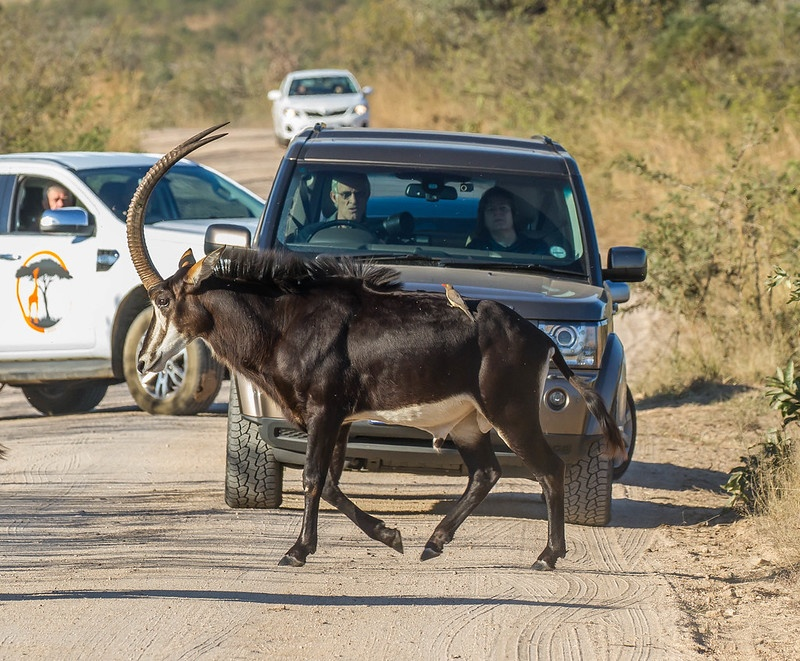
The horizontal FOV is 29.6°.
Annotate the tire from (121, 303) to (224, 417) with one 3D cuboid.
[{"bbox_3d":[-1.896,0.223,12.590,0.980,1.034,0.366,4,3,17],"label":"tire"}]

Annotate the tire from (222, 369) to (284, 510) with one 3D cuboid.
[{"bbox_3d":[-1.083,0.833,11.319,0.382,1.111,1.114,0,1,-5],"label":"tire"}]

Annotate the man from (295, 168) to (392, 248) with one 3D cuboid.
[{"bbox_3d":[-0.553,-0.969,12.065,0.538,0.706,0.278,5,-10,-1],"label":"man"}]

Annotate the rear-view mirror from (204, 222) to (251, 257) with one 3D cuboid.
[{"bbox_3d":[-1.323,-0.726,11.657,0.377,0.262,0.277,0,-2,-4],"label":"rear-view mirror"}]

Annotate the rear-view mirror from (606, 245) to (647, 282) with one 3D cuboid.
[{"bbox_3d":[1.799,-0.538,12.128,0.351,0.260,0.303,2,8,3],"label":"rear-view mirror"}]

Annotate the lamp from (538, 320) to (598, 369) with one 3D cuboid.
[{"bbox_3d":[1.223,0.083,11.089,0.374,0.227,0.368,-4,10,-38],"label":"lamp"}]

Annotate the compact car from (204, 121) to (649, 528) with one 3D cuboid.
[{"bbox_3d":[0.326,-0.218,12.925,2.361,2.052,3.986,1,-3,-1],"label":"compact car"}]
